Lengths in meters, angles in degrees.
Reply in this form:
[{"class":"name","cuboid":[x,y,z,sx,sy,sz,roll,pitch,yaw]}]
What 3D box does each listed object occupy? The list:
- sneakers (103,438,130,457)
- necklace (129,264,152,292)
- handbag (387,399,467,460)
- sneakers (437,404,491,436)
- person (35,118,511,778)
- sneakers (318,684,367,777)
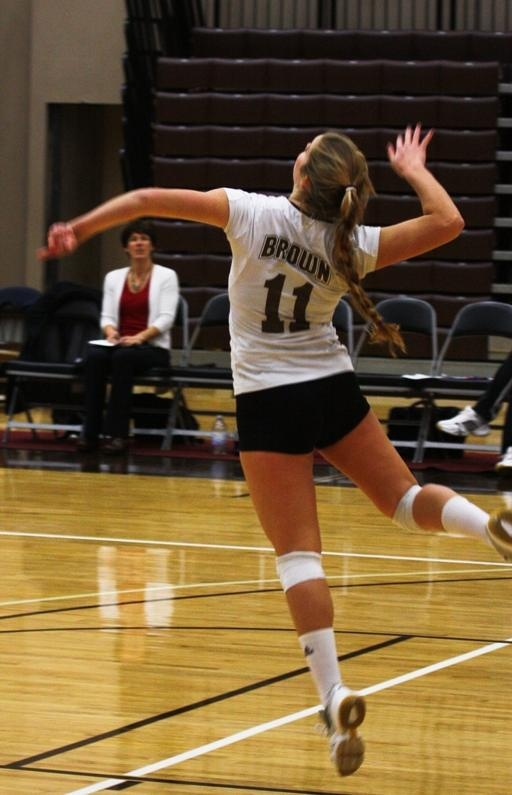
[{"class":"sneakers","cuboid":[-0.908,0.321,5.549,0.176,0.154,0.088,8,5,-5]},{"class":"necklace","cuboid":[-0.791,-0.818,5.808,0.146,0.152,0.177,4,-13,-7]},{"class":"handbag","cuboid":[1.061,0.197,6.004,0.707,0.460,0.543,-3,-8,38]},{"class":"sneakers","cuboid":[1.267,0.161,5.182,0.374,0.206,0.134,1,-2,-2]},{"class":"person","cuboid":[0.087,0.043,1.447,0.706,1.143,0.412,0,2,-33]},{"class":"sneakers","cuboid":[0.134,0.513,1.300,0.053,0.148,0.066,-6,29,-2]}]
